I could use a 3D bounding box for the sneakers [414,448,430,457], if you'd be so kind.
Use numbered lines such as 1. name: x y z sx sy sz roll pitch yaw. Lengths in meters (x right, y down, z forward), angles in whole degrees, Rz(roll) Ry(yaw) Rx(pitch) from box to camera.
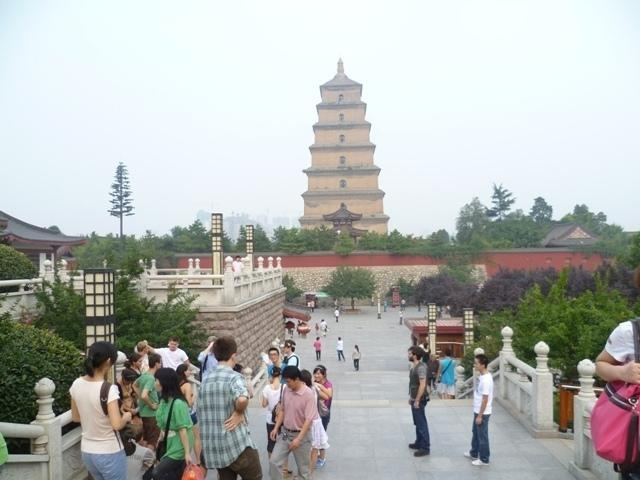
1. sneakers: 1.569 3.271 10.034 0.232 0.102 0.093 3 -6 -9

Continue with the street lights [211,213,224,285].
1. street lights: -3.521 0.310 22.475 0.332 2.205 0.980 -1 0 -11

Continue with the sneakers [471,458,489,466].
1. sneakers: 2.387 3.281 9.684 0.241 0.111 0.091 3 -9 7

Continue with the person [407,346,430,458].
1. person: 1.527 2.472 10.048 0.312 1.281 0.528 -1 0 9

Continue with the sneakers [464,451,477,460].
1. sneakers: 2.280 3.259 9.874 0.069 0.089 0.190 1 7 -22

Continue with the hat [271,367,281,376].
1. hat: -0.633 1.896 9.403 0.109 0.110 0.145 3 0 2

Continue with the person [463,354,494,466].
1. person: 2.385 2.514 9.791 0.397 1.196 0.700 -1 0 14

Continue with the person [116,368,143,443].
1. person: -2.484 2.186 8.526 0.352 0.401 1.137 -2 -42 -16

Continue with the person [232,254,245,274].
1. person: -2.668 0.791 21.379 0.429 0.973 0.270 2 -12 -30
